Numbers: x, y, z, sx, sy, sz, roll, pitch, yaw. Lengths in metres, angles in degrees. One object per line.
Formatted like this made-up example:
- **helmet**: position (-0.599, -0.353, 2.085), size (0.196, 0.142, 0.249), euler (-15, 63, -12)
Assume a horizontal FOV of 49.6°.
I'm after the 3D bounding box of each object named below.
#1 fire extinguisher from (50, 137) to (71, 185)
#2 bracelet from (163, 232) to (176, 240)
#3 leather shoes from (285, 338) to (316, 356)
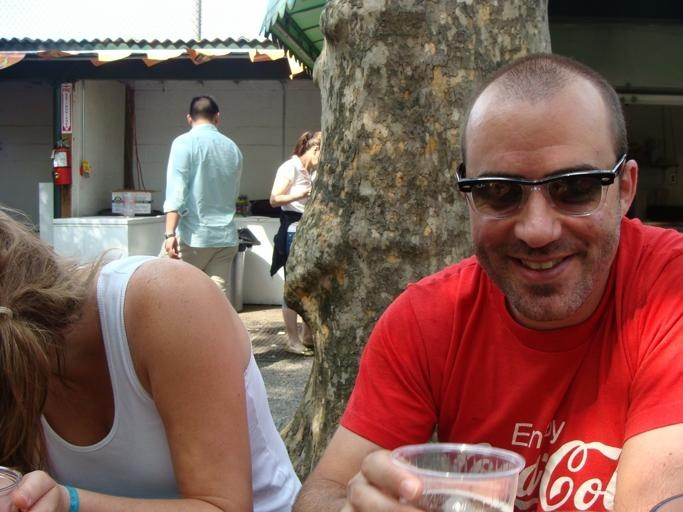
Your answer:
- **fire extinguisher**: position (-4.043, -1.342, 10.715), size (0.303, 0.656, 0.159), euler (0, 4, 18)
- **bracelet**: position (-1.451, -0.166, 6.229), size (0.095, 0.083, 0.114), euler (-1, 4, 7)
- **leather shoes**: position (-0.384, 0.839, 6.767), size (0.228, 0.100, 0.137), euler (3, 7, 43)
